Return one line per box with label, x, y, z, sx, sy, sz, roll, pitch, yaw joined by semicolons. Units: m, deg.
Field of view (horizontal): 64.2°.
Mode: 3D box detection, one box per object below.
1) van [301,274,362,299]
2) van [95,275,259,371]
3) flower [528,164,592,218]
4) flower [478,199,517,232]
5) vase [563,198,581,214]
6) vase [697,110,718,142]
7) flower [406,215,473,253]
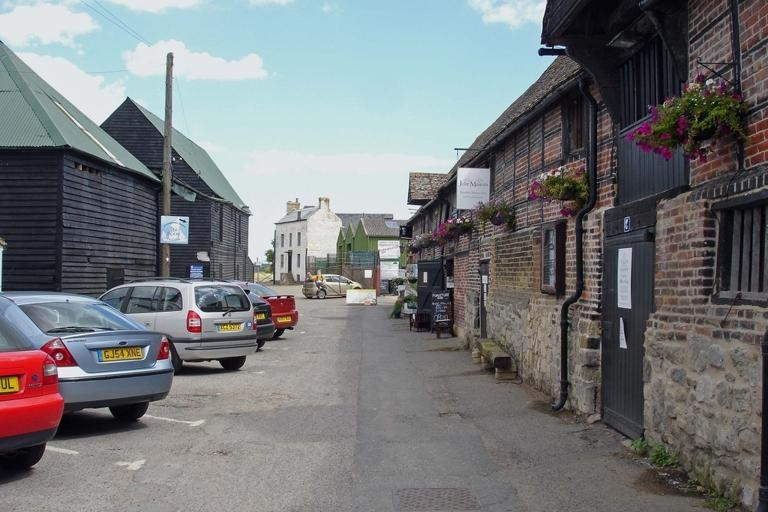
van;-4.673;2.534;50.921;3.649;1.570;2.273;-5;4;-25
van;-4.959;1.432;14.579;3.360;1.545;1.876;3;0;37
flower;3.326;-1.265;11.152;0.890;1.066;1.010;-1;8;43
flower;2.861;-1.021;15.188;0.723;0.609;0.777;0;-4;-20
vase;3.388;-0.888;11.032;0.216;0.160;0.224;0;5;-3
vase;3.777;-1.505;7.170;0.195;0.249;0.386;-2;-4;27
flower;2.339;-0.925;25.462;0.856;0.767;2.868;20;-14;-10
